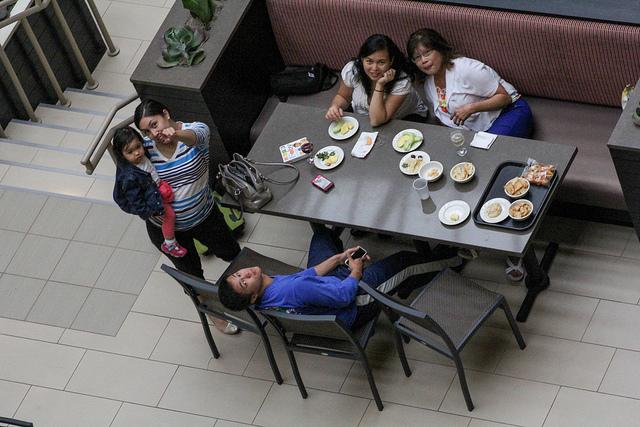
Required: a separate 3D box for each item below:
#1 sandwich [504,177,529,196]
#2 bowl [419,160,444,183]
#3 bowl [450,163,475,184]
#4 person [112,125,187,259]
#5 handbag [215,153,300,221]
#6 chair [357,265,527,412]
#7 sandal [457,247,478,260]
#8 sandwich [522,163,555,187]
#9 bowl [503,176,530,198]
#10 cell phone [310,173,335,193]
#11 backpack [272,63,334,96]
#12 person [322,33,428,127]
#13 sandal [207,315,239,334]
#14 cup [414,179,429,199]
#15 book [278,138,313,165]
[{"bbox_3d":[1.316,-0.181,3.356,0.119,0.057,0.124,17,76,42],"label":"sandwich"},{"bbox_3d":[0.790,-0.305,3.573,0.153,0.054,0.151,-8,56,12],"label":"bowl"},{"bbox_3d":[0.992,-0.285,3.523,0.155,0.070,0.150,-2,56,3],"label":"bowl"},{"bbox_3d":[-1.270,-0.118,3.684,0.393,0.963,0.558,-12,55,-3],"label":"person"},{"bbox_3d":[-0.511,-0.282,3.799,0.634,0.249,0.499,-41,47,-20],"label":"handbag"},{"bbox_3d":[0.873,0.707,3.483,0.813,1.144,0.659,-38,35,-18],"label":"chair"},{"bbox_3d":[1.141,0.305,3.852,0.137,0.100,0.076,23,59,6],"label":"sandal"},{"bbox_3d":[1.485,-0.297,3.398,0.174,0.047,0.194,22,60,18],"label":"sandwich"},{"bbox_3d":[1.322,-0.167,3.373,0.151,0.078,0.140,-2,56,3],"label":"bowl"},{"bbox_3d":[0.012,-0.233,3.696,0.143,0.043,0.106,36,71,23],"label":"cell phone"},{"bbox_3d":[-0.188,-1.209,4.688,0.435,0.166,0.290,-3,50,15],"label":"backpack"},{"bbox_3d":[0.475,-1.071,4.068,0.679,0.856,0.600,13,70,13],"label":"person"},{"bbox_3d":[-0.806,0.900,4.128,0.233,0.064,0.095,31,77,3],"label":"sandal"},{"bbox_3d":[0.696,-0.169,3.466,0.073,0.078,0.076,-15,51,19],"label":"cup"},{"bbox_3d":[-0.195,-0.474,3.878,0.234,0.055,0.176,-20,60,-3],"label":"book"}]
